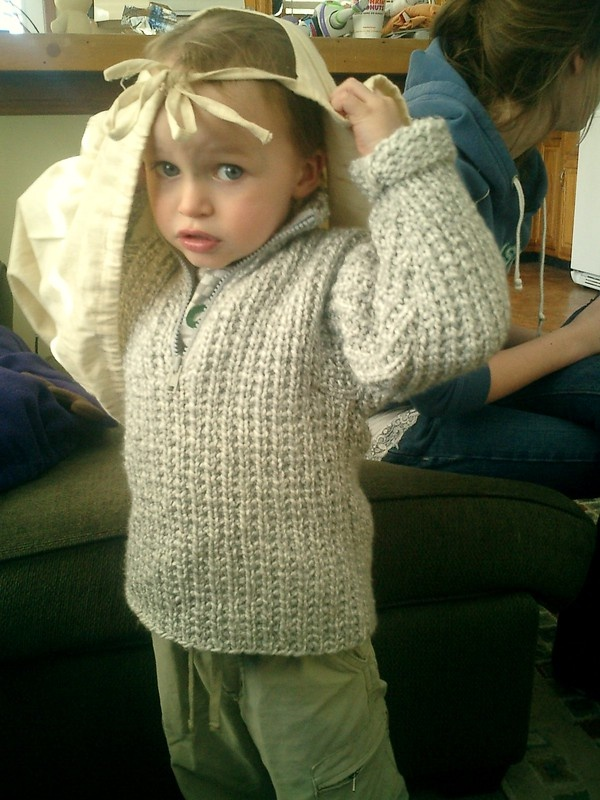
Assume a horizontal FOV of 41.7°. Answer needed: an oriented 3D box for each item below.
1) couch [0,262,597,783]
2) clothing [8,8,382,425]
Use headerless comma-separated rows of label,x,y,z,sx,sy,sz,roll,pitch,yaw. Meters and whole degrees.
couch,-0.013,0.227,0.975,0.568,0.301,0.494,0,4,-17
clothing,-0.137,-0.187,0.894,0.406,0.397,0.238,5,-10,12
